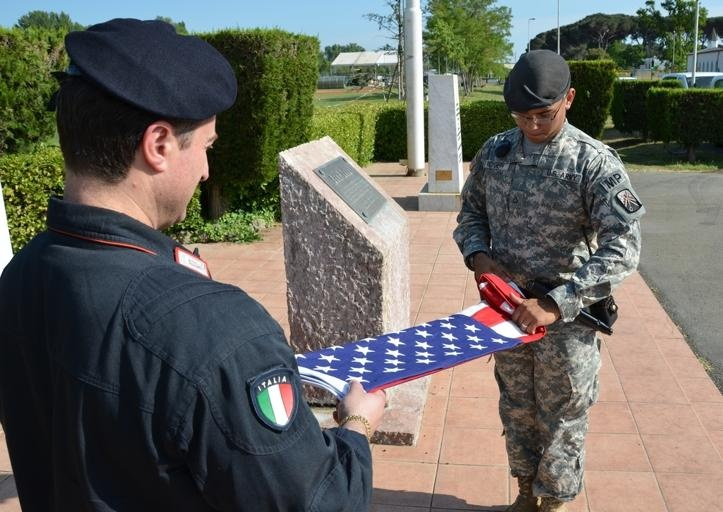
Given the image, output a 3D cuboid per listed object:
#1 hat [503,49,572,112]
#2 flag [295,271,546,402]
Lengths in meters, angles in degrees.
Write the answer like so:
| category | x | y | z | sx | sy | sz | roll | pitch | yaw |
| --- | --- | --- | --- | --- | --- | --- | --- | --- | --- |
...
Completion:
| category | x | y | z | sx | sy | sz | roll | pitch | yaw |
| --- | --- | --- | --- | --- | --- | --- | --- | --- | --- |
| hat | 0.831 | -0.816 | 3.354 | 0.312 | 0.276 | 0.279 | 1 | 15 | 6 |
| flag | 0.242 | 0.379 | 2.934 | 0.892 | 0.168 | 0.521 | -14 | 22 | -30 |
